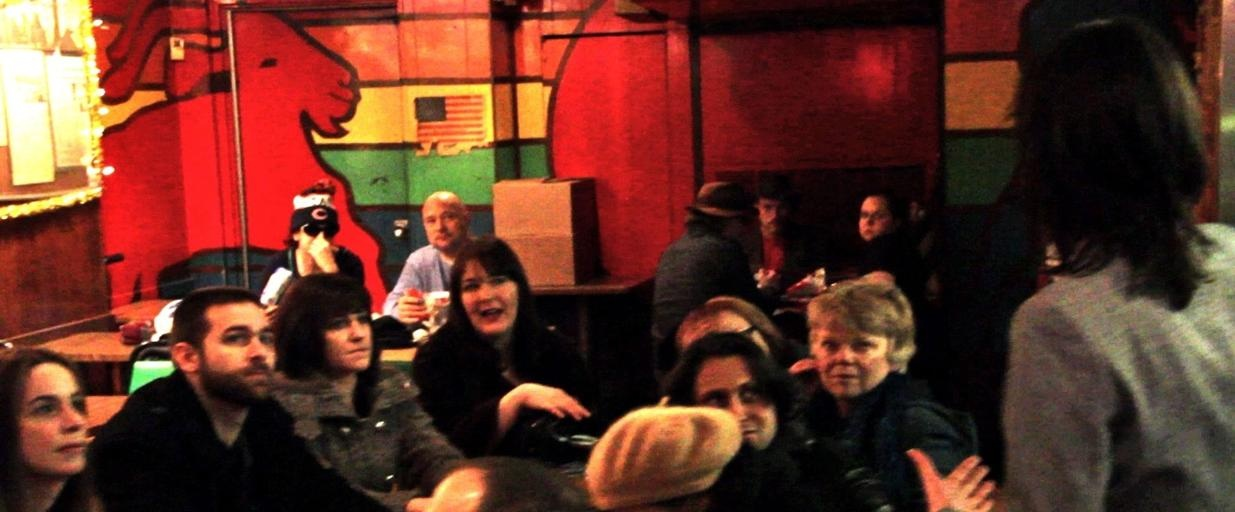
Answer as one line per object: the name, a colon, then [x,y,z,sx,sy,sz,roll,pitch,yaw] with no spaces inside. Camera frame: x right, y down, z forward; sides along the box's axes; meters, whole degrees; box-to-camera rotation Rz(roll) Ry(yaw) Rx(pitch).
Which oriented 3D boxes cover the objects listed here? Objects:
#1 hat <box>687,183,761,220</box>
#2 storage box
hat: [0.892,-0.476,8.220,0.647,0.160,0.452,3,-1,9]
storage box: [-0.641,-0.287,10.236,1.476,0.976,1.180,-1,5,5]
